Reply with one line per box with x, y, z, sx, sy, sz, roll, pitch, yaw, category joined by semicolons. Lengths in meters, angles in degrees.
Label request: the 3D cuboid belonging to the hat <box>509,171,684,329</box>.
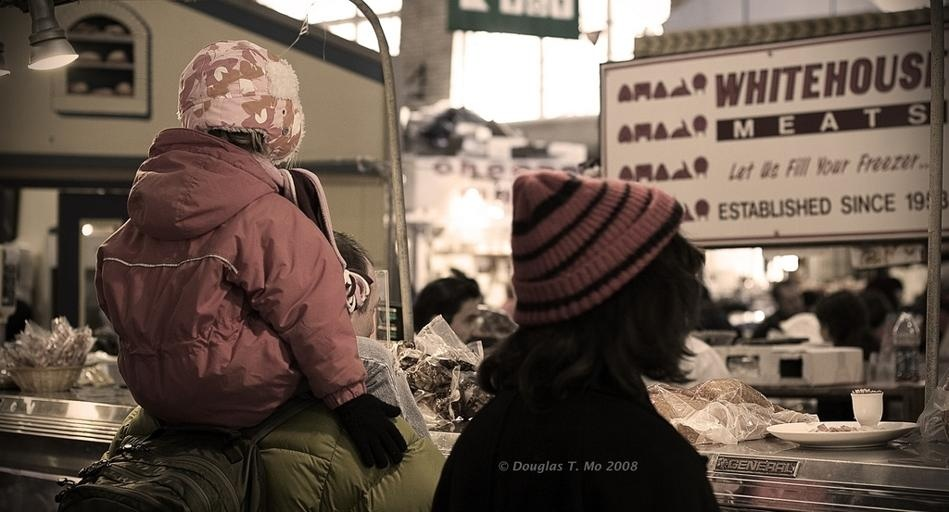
0.567;-0.095;6.197;0.837;0.507;0.829;-25;14;2;hat

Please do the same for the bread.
1.480;0.955;6.941;0.654;0.222;0.549;0;-5;-22;bread

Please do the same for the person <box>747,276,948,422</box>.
3.023;0.792;9.333;1.401;1.377;0.998;0;-2;22;person
